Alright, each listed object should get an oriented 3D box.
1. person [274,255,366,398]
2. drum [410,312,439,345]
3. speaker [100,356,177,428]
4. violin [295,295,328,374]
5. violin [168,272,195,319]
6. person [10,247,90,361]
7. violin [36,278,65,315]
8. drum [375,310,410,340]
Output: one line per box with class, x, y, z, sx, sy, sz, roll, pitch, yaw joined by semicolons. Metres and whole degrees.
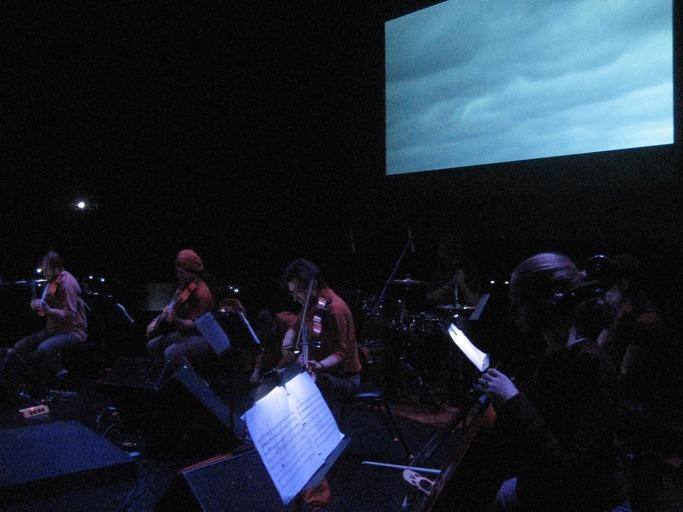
person;-0.257;0.684;5.218;0.742;1.241;0.804;-5;0;-37
drum;0.972;0.831;6.504;0.311;0.230;0.327;-7;6;1
speaker;-2.014;1.255;5.379;0.520;0.623;0.617;7;33;-10
violin;-0.276;0.710;5.071;0.093;0.661;0.249;11;-12;-38
violin;-1.794;0.420;6.213;0.203;0.590;0.157;25;-5;12
person;-3.496;0.575;6.617;0.632;1.208;0.577;2;5;12
violin;-3.585;0.491;6.711;0.314;0.456;0.110;-13;-37;37
drum;0.637;0.817;6.670;0.445;0.297;0.188;5;6;42
